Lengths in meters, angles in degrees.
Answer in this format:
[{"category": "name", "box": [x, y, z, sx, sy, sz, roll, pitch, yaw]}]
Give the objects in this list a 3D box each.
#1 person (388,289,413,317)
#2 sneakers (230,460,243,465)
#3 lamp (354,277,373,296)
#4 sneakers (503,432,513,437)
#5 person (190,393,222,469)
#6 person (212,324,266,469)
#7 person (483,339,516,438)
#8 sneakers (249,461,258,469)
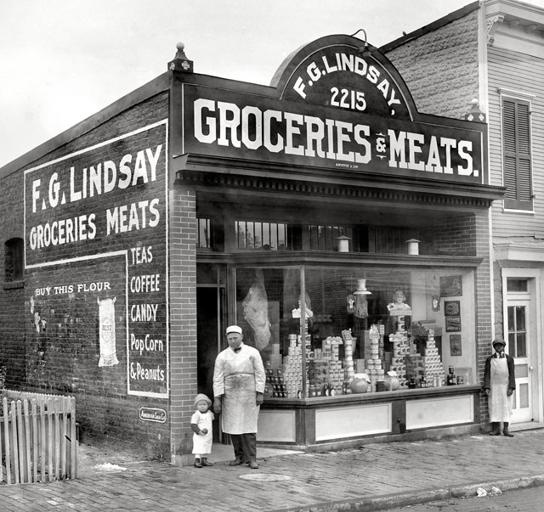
[{"category": "person", "box": [2.400, 0.890, 14.393, 0.121, 0.523, 0.658, 2, 0, 44]}, {"category": "sneakers", "box": [-0.544, 3.096, 11.535, 0.164, 0.080, 0.084, 8, -11, -32]}, {"category": "lamp", "box": [1.619, 0.543, 13.809, 0.261, 0.289, 0.259, 0, -4, -14]}, {"category": "sneakers", "box": [4.502, 3.385, 14.630, 0.181, 0.077, 0.305, 3, 1, 14]}, {"category": "person", "box": [-1.083, 2.631, 11.677, 0.345, 1.073, 0.707, 2, 0, -6]}, {"category": "person", "box": [-0.509, 2.110, 11.591, 0.763, 2.087, 0.621, 2, 0, -3]}, {"category": "person", "box": [4.350, 2.510, 14.709, 0.584, 1.918, 0.402, 2, 0, 18]}, {"category": "sneakers", "box": [-0.277, 3.083, 11.323, 0.159, 0.099, 0.184, 3, 1, -4]}]
